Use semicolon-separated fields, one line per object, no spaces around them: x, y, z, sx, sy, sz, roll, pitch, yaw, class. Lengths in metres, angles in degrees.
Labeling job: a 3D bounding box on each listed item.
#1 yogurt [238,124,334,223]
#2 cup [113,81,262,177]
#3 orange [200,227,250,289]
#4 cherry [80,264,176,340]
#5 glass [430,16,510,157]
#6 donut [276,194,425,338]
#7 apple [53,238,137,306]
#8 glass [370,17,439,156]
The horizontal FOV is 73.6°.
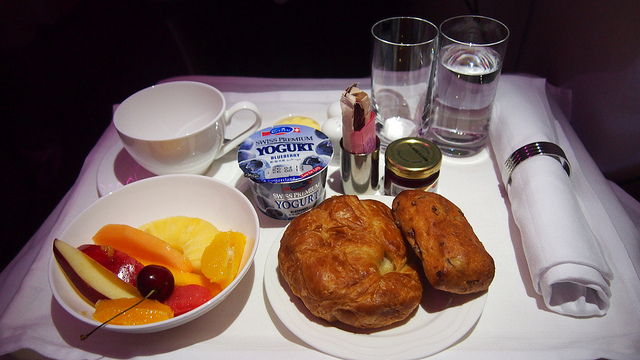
-0.137;-0.052;1.729;0.383;0.228;0.364;-6;45;-3;yogurt
-0.553;-0.230;1.900;0.551;0.307;0.465;-25;63;-10;cup
-0.343;0.278;1.538;0.146;0.050;0.184;28;59;-7;orange
-0.631;0.431;1.516;0.123;0.079;0.275;26;66;17;cherry
0.654;-0.392;2.019;0.316;0.520;0.307;-14;24;-31;glass
0.130;0.311;1.588;0.489;0.144;0.527;-33;64;-14;donut
-0.863;0.340;1.628;0.120;0.477;0.136;21;68;22;apple
0.354;-0.393;2.033;0.278;0.675;0.274;0;42;4;glass
